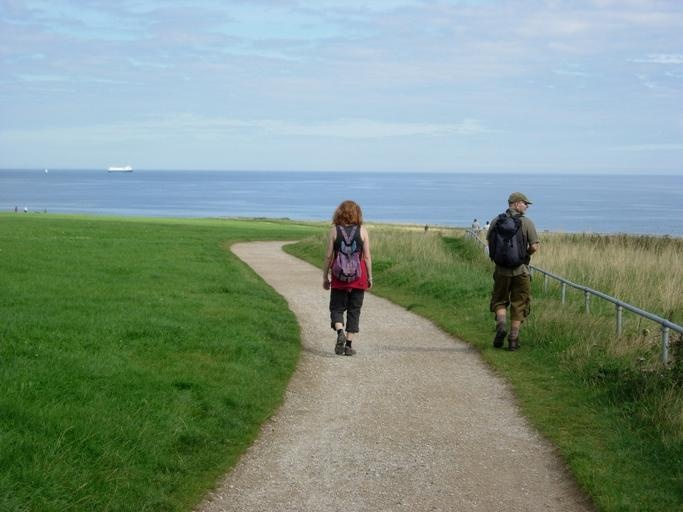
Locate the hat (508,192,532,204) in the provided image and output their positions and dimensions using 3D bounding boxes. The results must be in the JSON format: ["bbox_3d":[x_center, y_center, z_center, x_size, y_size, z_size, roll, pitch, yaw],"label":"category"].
[{"bbox_3d":[3.208,-1.030,12.758,0.441,0.270,0.328,-1,7,-7],"label":"hat"}]
